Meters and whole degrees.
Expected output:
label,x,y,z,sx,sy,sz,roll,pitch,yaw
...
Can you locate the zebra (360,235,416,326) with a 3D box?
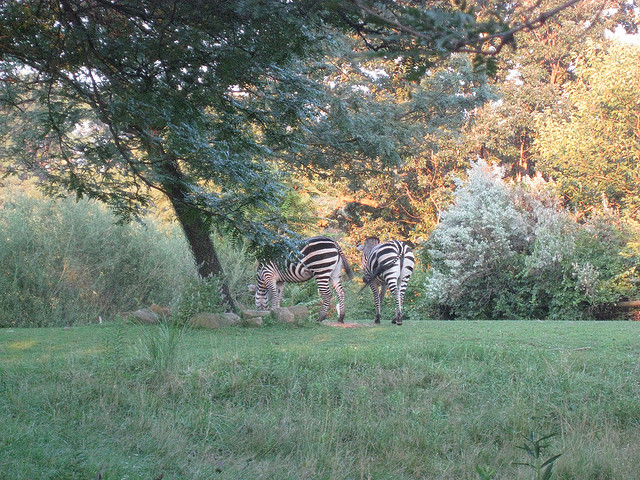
label,x,y,z,sx,sy,sz,roll,pitch,yaw
zebra,1.547,0.846,14.186,0.908,2.215,3.322,-2,-2,-12
